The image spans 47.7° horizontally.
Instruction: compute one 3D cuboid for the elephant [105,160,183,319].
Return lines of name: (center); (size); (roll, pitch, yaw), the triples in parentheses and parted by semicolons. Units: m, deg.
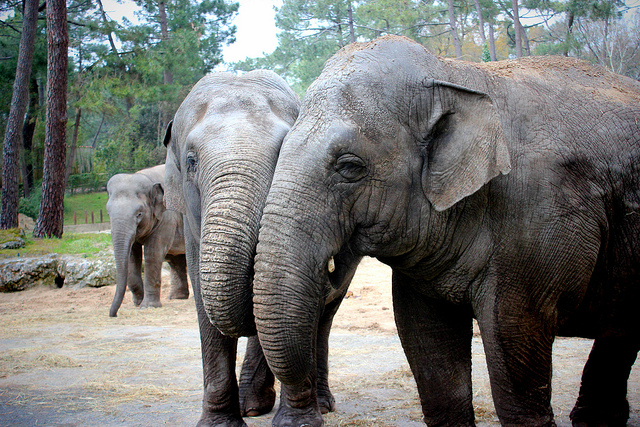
elephant: (-3.250, 0.523, 13.823); (1.307, 2.690, 3.468); (-3, -3, 9)
